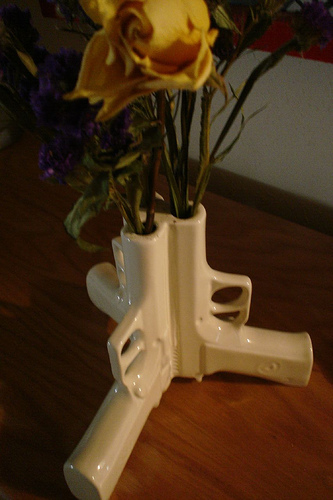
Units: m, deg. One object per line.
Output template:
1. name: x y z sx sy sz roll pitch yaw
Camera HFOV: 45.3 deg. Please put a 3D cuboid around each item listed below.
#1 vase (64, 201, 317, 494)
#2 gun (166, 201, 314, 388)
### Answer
1. vase: 0.015 0.083 0.498 0.302 0.226 0.294 -9 45 -5
2. gun: 0.100 0.066 0.525 0.236 0.310 0.075 3 39 7
